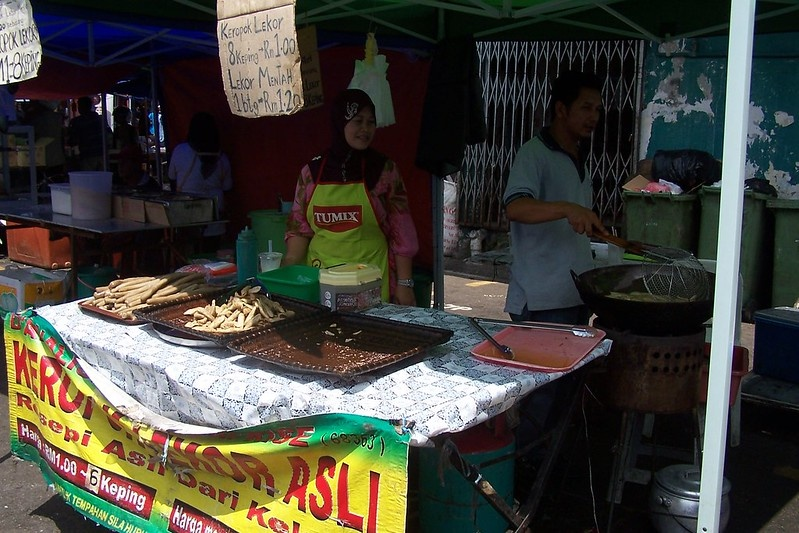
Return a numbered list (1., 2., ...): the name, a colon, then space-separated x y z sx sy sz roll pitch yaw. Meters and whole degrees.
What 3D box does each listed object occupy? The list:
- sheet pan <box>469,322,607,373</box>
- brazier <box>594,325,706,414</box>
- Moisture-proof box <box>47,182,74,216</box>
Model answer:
1. sheet pan: 0.762 0.428 3.587 0.594 0.065 0.632 -2 15 24
2. brazier: 1.456 0.596 3.717 0.480 0.378 0.494 1 7 8
3. Moisture-proof box: -3.466 -0.688 6.714 0.416 0.305 0.257 17 21 40
